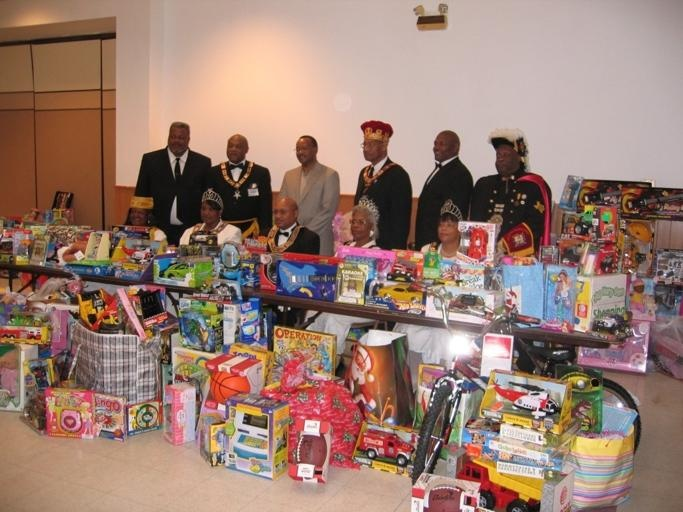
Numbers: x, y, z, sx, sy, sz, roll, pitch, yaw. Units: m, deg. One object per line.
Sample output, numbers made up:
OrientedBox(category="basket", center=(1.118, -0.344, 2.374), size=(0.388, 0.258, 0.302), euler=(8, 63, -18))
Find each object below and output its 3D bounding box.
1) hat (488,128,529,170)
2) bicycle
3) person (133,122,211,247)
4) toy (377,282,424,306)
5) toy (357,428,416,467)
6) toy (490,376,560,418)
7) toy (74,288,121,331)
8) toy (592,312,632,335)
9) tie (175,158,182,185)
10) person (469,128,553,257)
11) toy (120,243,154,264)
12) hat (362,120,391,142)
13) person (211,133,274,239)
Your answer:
OrientedBox(category="hat", center=(1.805, -1.136, 5.836), size=(0.351, 0.389, 0.308), euler=(14, -5, 15))
OrientedBox(category="bicycle", center=(1.169, 0.707, 3.563), size=(1.265, 0.815, 0.852), euler=(11, 34, 10))
OrientedBox(category="person", center=(-1.917, -0.518, 6.379), size=(0.851, 1.926, 0.499), euler=(4, 5, -24))
OrientedBox(category="toy", center=(0.408, 0.249, 3.748), size=(0.231, 0.083, 0.134), euler=(4, 23, 15))
OrientedBox(category="toy", center=(0.294, 1.205, 3.579), size=(0.290, 0.164, 0.169), euler=(6, 14, 20))
OrientedBox(category="toy", center=(1.003, 0.741, 3.063), size=(0.178, 0.154, 0.272), euler=(9, -3, -42))
OrientedBox(category="toy", center=(-1.718, 0.385, 3.991), size=(0.262, 0.243, 0.279), euler=(-3, 12, -26))
OrientedBox(category="toy", center=(1.648, 0.398, 3.415), size=(0.219, 0.123, 0.122), euler=(4, -4, -35))
OrientedBox(category="tie", center=(-1.820, -0.977, 6.259), size=(0.086, 0.256, 0.059), euler=(1, 9, -6))
OrientedBox(category="person", center=(1.541, -0.534, 5.151), size=(0.758, 0.979, 0.570), euler=(7, 11, 24))
OrientedBox(category="toy", center=(-1.651, -0.031, 4.580), size=(0.161, 0.075, 0.234), euler=(4, 7, 3))
OrientedBox(category="hat", center=(0.349, -1.248, 5.538), size=(0.229, 0.135, 0.201), euler=(11, 10, 19))
OrientedBox(category="person", center=(-1.128, -0.437, 6.294), size=(0.683, 1.803, 0.502), euler=(0, 18, -7))
